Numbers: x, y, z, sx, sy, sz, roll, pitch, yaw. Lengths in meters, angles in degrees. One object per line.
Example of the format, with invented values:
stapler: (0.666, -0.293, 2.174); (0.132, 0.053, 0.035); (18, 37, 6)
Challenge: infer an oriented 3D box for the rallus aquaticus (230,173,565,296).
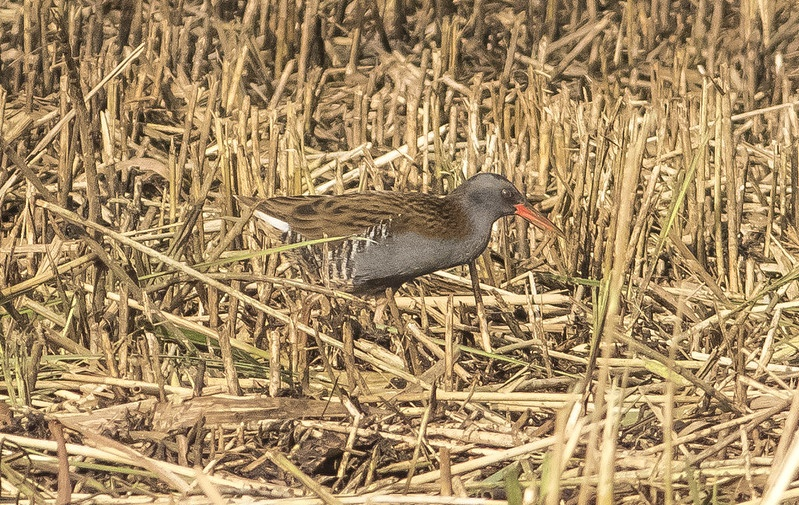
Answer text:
rallus aquaticus: (-0.003, -0.081, 4.520); (1.329, 0.441, 0.486); (0, 36, 0)
